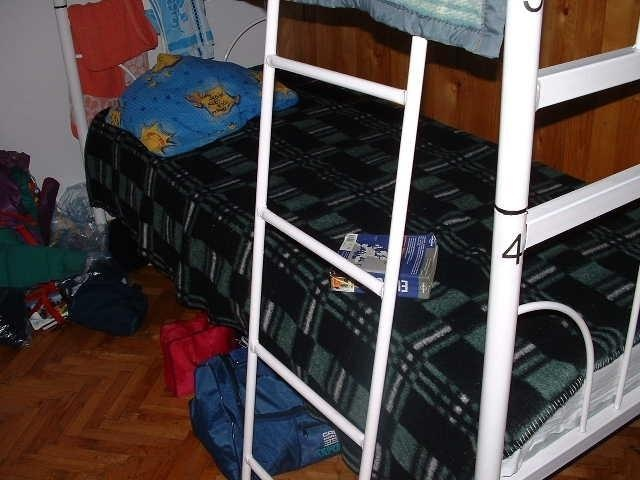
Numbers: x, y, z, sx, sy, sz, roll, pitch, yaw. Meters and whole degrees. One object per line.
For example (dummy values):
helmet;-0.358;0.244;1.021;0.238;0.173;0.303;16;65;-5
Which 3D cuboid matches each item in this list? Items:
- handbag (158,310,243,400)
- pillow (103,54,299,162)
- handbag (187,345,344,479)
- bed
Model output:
handbag;-0.573;0.423;2.452;0.373;0.377;0.265;-14;24;-26
pillow;-0.649;-0.737;2.900;0.890;0.259;0.919;-21;39;-21
handbag;-0.250;0.632;2.036;0.366;0.173;0.477;-28;53;-27
bed;0.052;0.039;1.976;0.538;1.527;1.484;-20;38;-32
